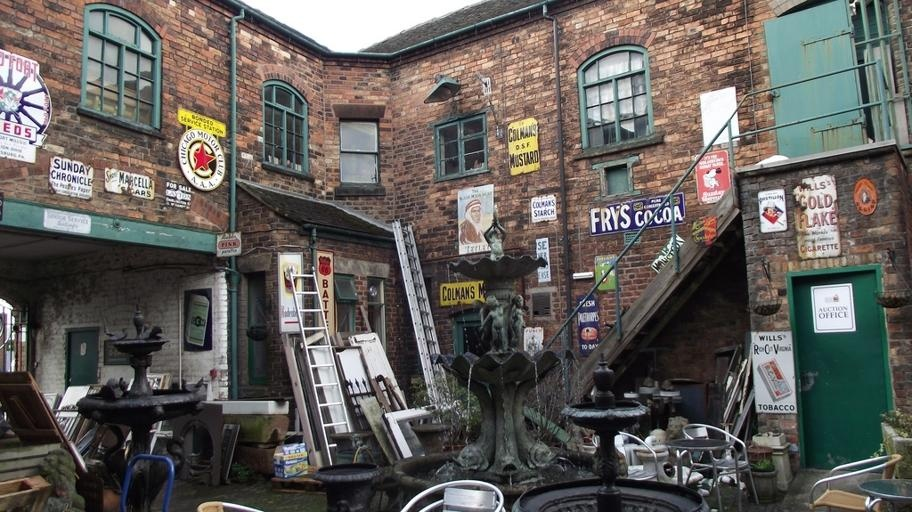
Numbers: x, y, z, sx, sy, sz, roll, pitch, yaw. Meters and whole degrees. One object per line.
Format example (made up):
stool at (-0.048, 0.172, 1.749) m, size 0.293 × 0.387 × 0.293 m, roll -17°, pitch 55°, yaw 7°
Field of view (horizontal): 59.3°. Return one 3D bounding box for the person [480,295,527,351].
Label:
person at (0.845, 1.253, 14.888) m, size 0.770 × 1.073 × 0.486 m, roll -3°, pitch -10°, yaw 1°

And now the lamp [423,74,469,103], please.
lamp at (-0.327, -4.325, 21.013) m, size 0.673 × 0.306 × 0.835 m, roll 7°, pitch -12°, yaw -30°
